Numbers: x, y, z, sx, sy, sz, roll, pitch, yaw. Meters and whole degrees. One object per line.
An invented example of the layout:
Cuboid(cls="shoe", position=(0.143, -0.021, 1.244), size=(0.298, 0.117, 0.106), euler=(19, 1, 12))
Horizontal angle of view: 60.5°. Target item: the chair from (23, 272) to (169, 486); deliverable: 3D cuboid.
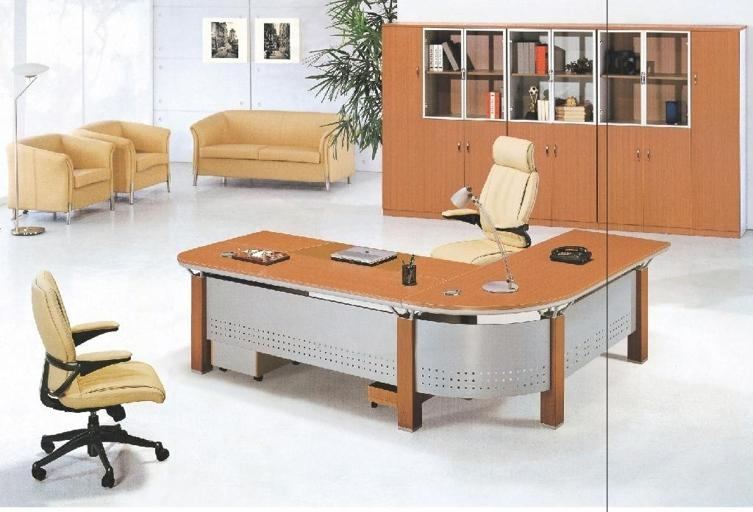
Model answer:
Cuboid(cls="chair", position=(-1.594, 0.710, 3.768), size=(0.745, 1.032, 0.703), euler=(1, 6, -17))

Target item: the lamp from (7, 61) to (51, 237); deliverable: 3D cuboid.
Cuboid(cls="lamp", position=(-4.397, -1.357, 8.284), size=(0.656, 2.123, 0.468), euler=(-2, 4, -9))

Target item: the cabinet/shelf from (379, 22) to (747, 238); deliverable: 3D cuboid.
Cuboid(cls="cabinet/shelf", position=(2.434, -1.604, 7.887), size=(3.013, 1.609, 0.479), euler=(2, 5, 19))

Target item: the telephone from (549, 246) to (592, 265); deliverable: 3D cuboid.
Cuboid(cls="telephone", position=(1.322, -0.005, 4.433), size=(0.162, 0.057, 0.163), euler=(4, 17, 28))

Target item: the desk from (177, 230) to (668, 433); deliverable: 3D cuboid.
Cuboid(cls="desk", position=(0.235, 0.409, 4.531), size=(3.166, 1.066, 1.343), euler=(4, 14, 17))

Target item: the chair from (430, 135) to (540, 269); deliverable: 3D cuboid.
Cuboid(cls="chair", position=(0.911, -0.442, 5.578), size=(0.912, 1.016, 0.778), euler=(-21, 25, -40))
